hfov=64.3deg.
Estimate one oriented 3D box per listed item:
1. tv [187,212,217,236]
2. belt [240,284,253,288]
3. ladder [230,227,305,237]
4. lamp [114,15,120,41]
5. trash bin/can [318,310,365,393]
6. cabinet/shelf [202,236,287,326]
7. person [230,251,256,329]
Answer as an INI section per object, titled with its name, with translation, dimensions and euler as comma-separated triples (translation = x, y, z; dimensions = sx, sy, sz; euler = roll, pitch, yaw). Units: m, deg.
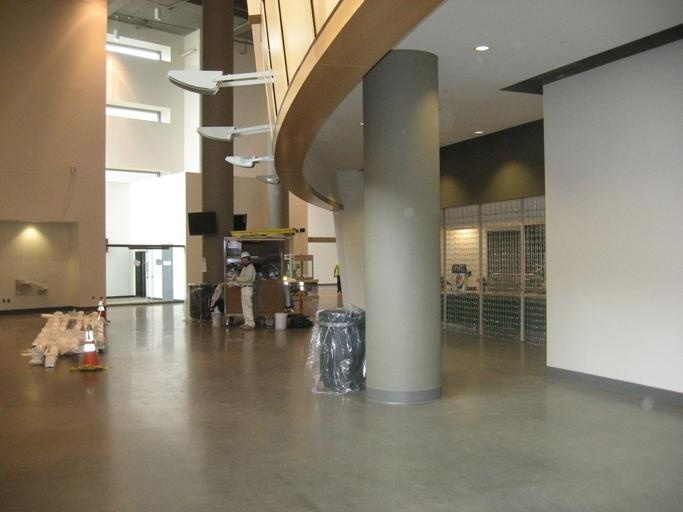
[tv]
translation = -4.632, -1.062, 18.056
dimensions = 0.805, 0.807, 0.193
euler = -1, 7, -19
[belt]
translation = -2.627, 0.825, 14.990
dimensions = 0.293, 0.102, 0.160
euler = -1, 1, -10
[ladder]
translation = -2.165, -0.722, 16.685
dimensions = 1.954, 0.325, 2.855
euler = -1, 1, 5
[lamp]
translation = -11.401, -11.514, 27.394
dimensions = 0.255, 0.727, 0.561
euler = -1, 1, -24
[trash bin/can]
translation = -0.009, 1.390, 8.001
dimensions = 0.698, 1.165, 0.365
euler = -1, 1, -2
[cabinet/shelf]
translation = -2.558, 0.653, 16.049
dimensions = 2.299, 3.405, 2.106
euler = 0, -2, -17
[person]
translation = -2.732, 0.933, 15.105
dimensions = 0.632, 2.080, 0.696
euler = -1, 1, -12
